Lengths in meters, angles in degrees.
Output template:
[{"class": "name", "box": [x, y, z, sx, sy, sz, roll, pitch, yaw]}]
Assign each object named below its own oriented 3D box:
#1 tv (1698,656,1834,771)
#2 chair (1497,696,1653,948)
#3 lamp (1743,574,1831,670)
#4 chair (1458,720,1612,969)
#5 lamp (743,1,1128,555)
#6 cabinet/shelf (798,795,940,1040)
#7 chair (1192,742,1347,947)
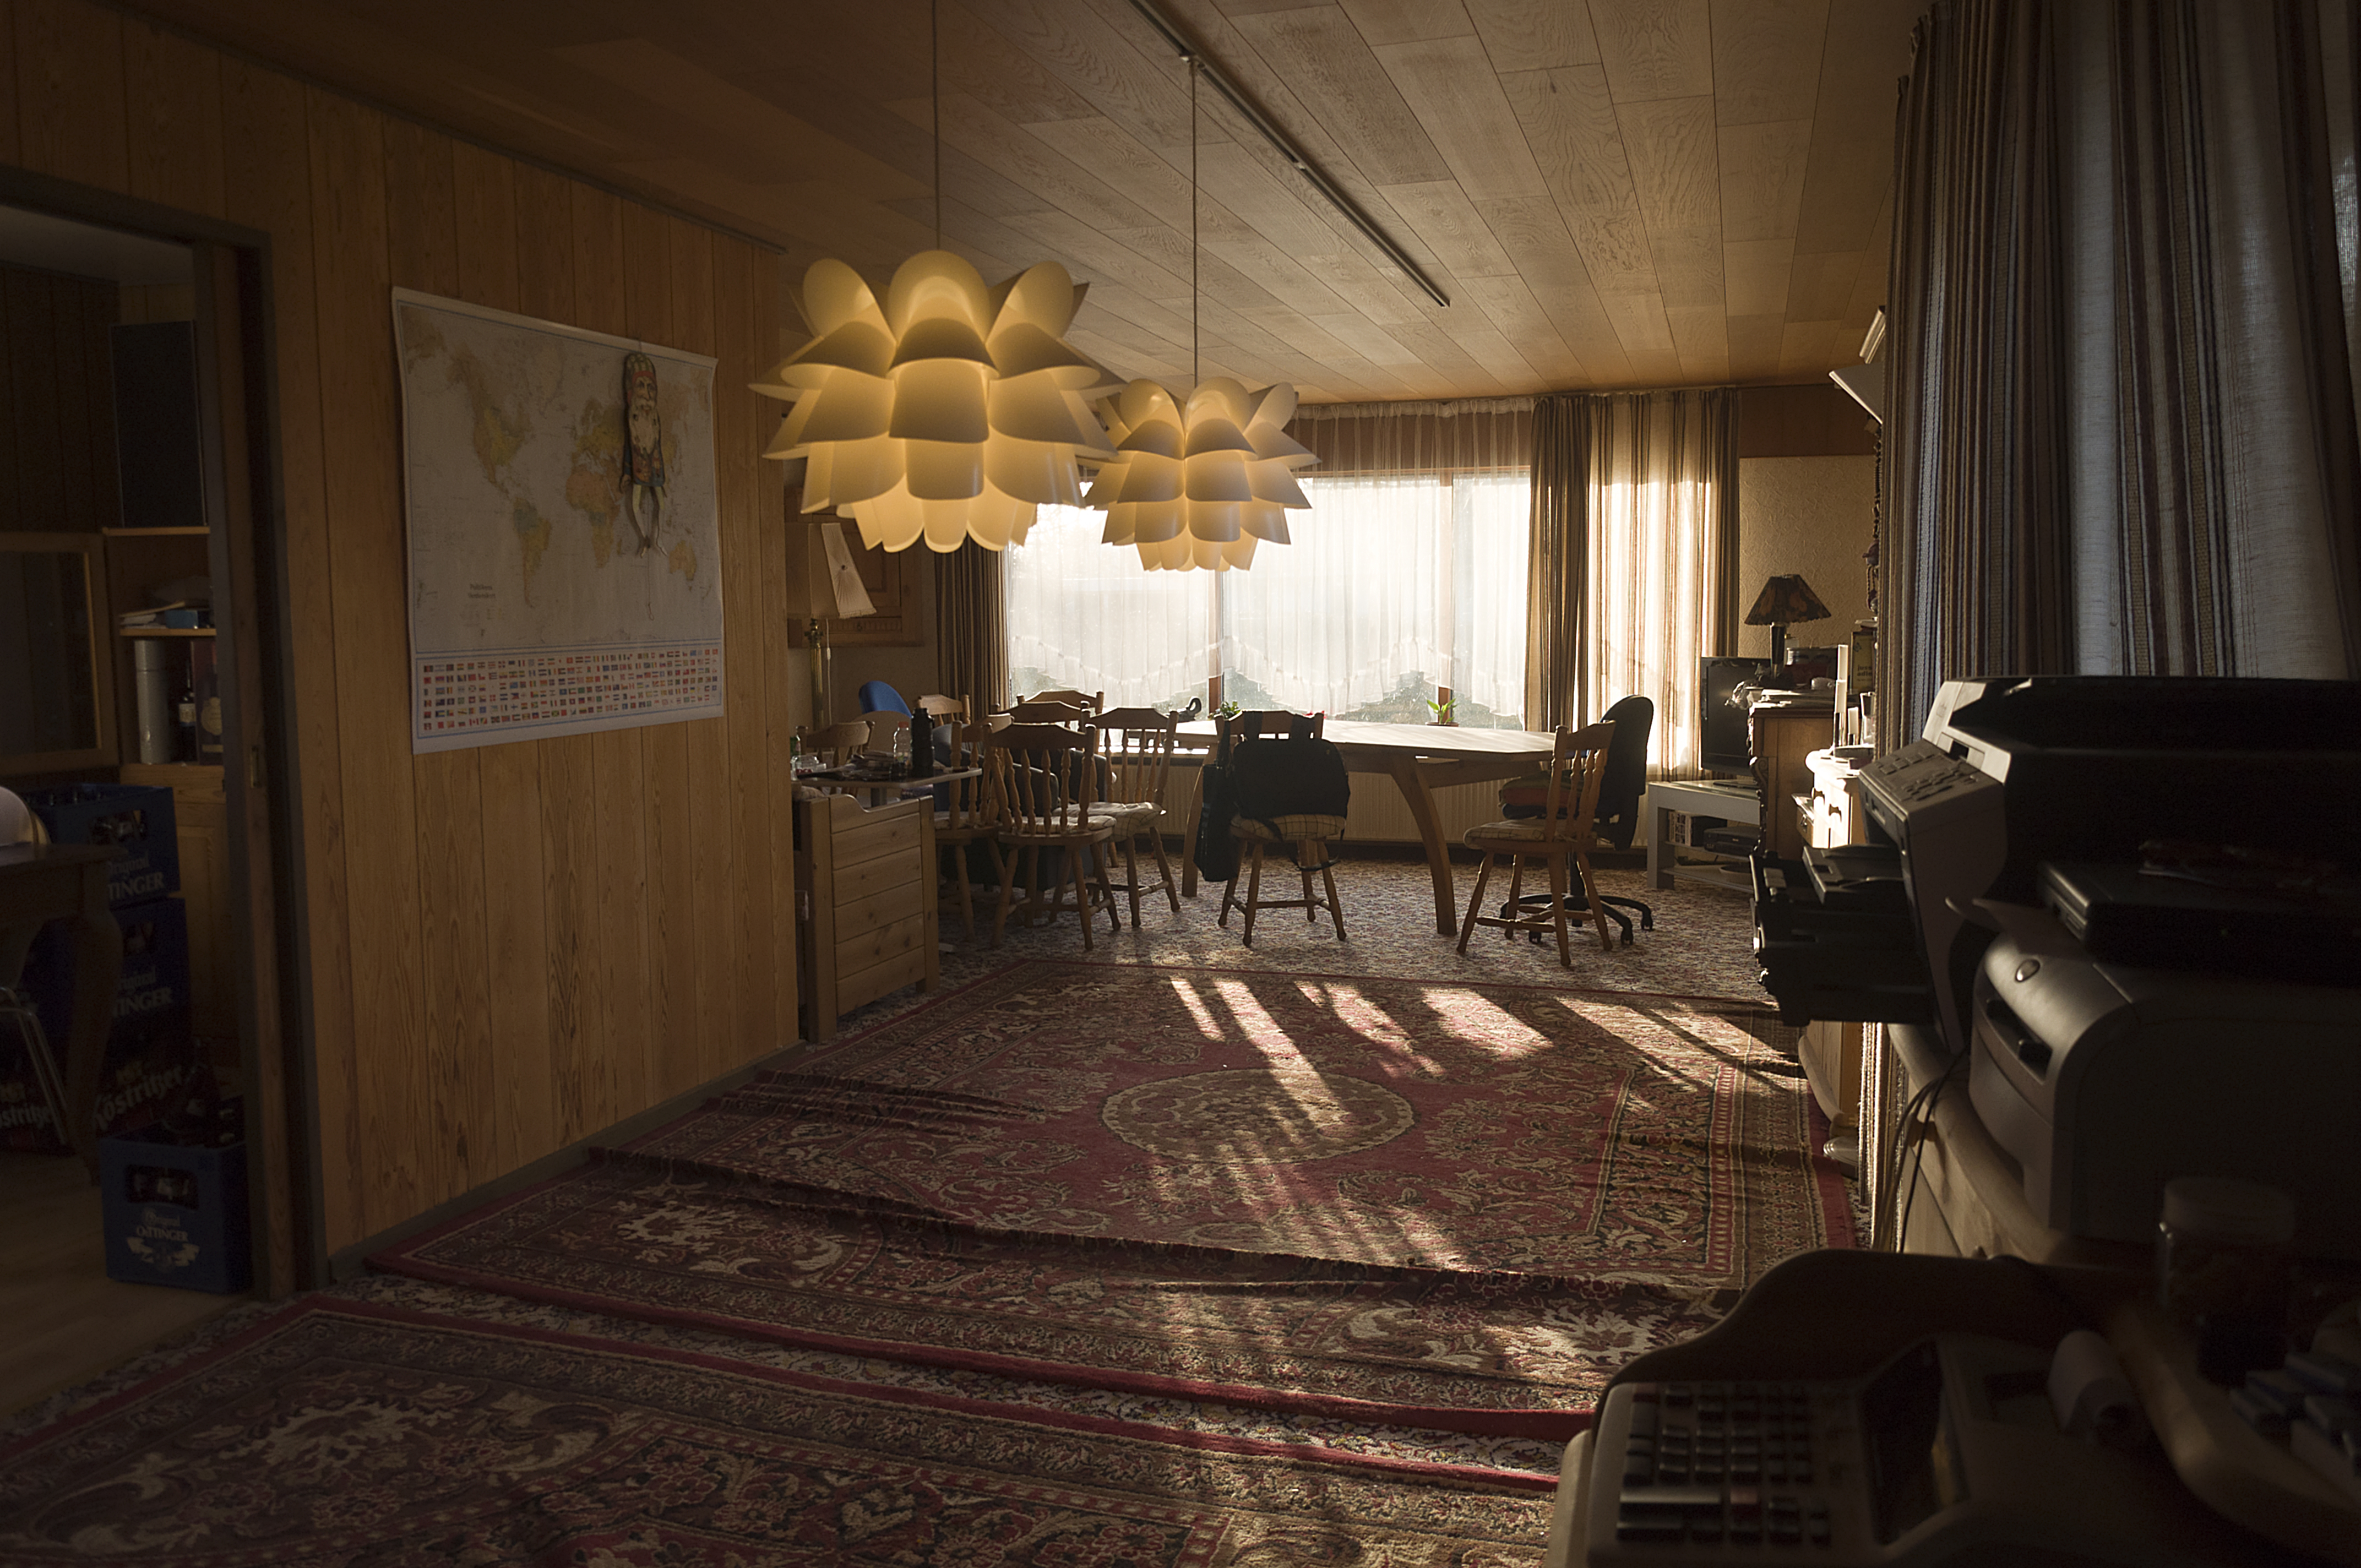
[{"class": "tv", "box": [2.840, -0.359, 7.528, 0.769, 0.518, 0.737, 3, 1, 15]}, {"class": "chair", "box": [1.848, 0.163, 7.125, 0.728, 1.126, 0.747, -2, -21, 20]}, {"class": "lamp", "box": [3.168, -0.846, 7.789, 0.524, 0.634, 0.121, 8, 21, 35]}, {"class": "chair", "box": [1.560, 0.228, 6.608, 0.695, 1.024, 0.688, 0, 7, 4]}, {"class": "lamp", "box": [-0.510, -0.815, 3.157, 0.727, 0.616, 0.543, -3, 9, -14]}, {"class": "cabinet/shelf", "box": [-1.174, 0.498, 5.540, 0.481, 0.711, 0.855, -1, 2, 13]}, {"class": "chair", "box": [0.414, 0.230, 7.285, 0.888, 1.253, 0.843, -1, 3, -6]}]
